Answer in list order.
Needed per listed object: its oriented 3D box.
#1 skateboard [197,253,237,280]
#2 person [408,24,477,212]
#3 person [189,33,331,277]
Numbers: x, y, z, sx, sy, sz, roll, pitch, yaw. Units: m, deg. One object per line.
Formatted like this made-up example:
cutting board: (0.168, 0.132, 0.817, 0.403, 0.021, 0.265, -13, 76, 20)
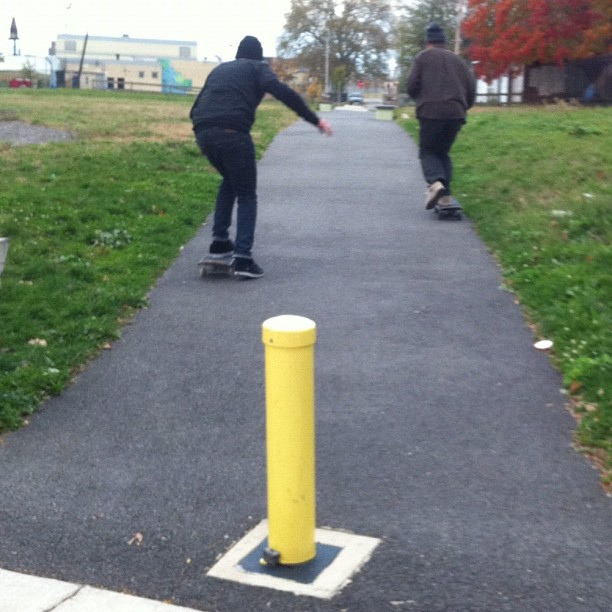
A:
skateboard: (-0.835, -0.390, 6.923, 0.361, 0.181, 0.358, 1, 14, -5)
person: (1.634, -2.294, 8.970, 0.835, 2.295, 1.102, 6, 15, 10)
person: (-0.536, -1.325, 6.653, 1.130, 2.156, 0.653, 5, 15, 6)
